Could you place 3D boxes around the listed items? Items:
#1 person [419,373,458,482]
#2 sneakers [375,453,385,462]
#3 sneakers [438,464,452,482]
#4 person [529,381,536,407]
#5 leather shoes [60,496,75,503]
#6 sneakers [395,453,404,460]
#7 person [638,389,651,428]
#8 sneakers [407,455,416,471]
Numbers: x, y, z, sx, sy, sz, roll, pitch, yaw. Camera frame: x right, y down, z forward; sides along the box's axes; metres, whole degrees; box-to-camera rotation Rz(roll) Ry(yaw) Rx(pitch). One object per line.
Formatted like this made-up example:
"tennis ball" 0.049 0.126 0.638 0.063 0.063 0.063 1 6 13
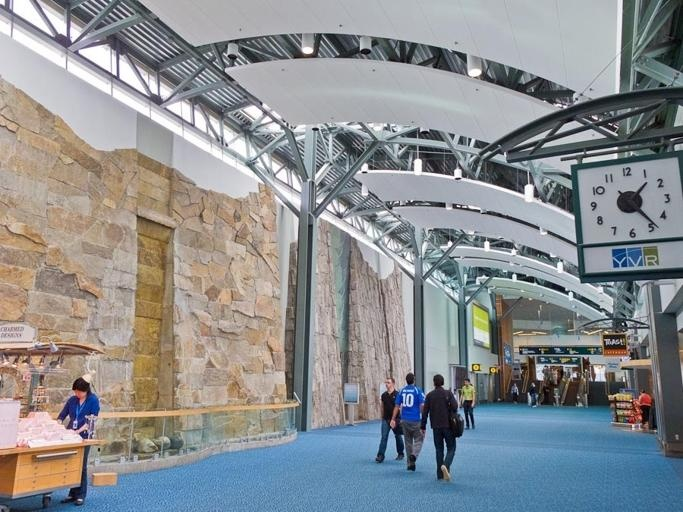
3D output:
"person" 2.134 3.667 9.985 0.746 2.095 1.610 -4 -17 11
"sneakers" 0.949 4.994 11.305 0.304 0.241 0.107 0 -13 26
"sneakers" 2.053 4.409 9.171 0.162 0.195 0.472 -16 -64 20
"person" 17.778 12.975 42.658 0.560 1.930 1.396 -6 -17 18
"leather shoes" -4.246 3.789 7.092 0.249 0.108 0.096 -1 -20 11
"sneakers" 1.457 5.095 11.585 0.169 0.177 0.107 -3 -19 29
"person" 13.836 7.047 20.828 0.516 1.603 1.557 -10 -19 31
"sneakers" 1.544 4.592 10.175 0.178 0.327 0.167 2 -16 -9
